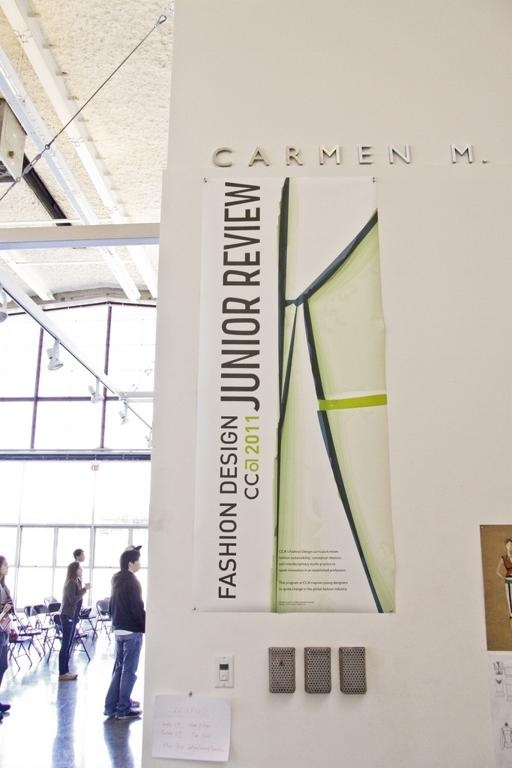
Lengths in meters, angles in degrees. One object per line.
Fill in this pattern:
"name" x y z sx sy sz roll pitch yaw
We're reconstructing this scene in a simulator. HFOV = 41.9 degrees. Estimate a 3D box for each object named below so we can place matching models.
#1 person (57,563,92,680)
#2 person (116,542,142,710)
"person" -1.951 2.438 6.925 0.273 1.171 1.091 2 -13 -15
"person" -1.013 1.910 5.108 0.259 1.276 0.595 1 -13 -13
